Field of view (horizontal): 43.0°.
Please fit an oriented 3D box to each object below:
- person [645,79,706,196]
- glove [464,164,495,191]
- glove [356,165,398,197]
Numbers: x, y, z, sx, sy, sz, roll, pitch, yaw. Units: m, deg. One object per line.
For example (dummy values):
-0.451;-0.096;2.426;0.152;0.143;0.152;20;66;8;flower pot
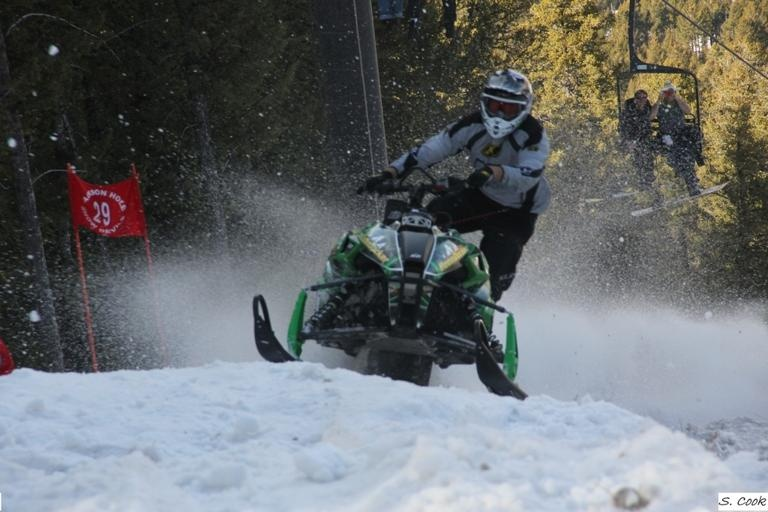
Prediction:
6.371;-2.549;21.087;0.763;2.167;1.170;3;5;43;person
1.494;-1.237;15.335;0.416;0.291;0.158;-34;36;-31;glove
-0.116;-1.175;15.623;0.546;0.243;0.409;-15;-4;8;glove
